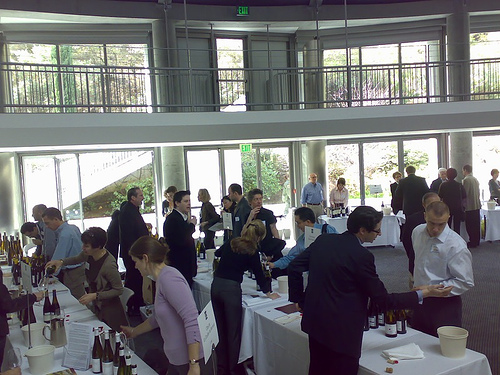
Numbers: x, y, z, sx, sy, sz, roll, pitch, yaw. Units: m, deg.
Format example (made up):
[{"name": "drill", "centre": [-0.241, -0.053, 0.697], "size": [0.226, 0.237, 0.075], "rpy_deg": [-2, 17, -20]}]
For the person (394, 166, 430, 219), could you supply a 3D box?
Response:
[{"name": "person", "centre": [3.317, 0.292, 8.170], "size": [0.674, 1.602, 0.507], "rpy_deg": [-3, 21, 19]}]

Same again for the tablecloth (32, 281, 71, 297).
[{"name": "tablecloth", "centre": [-2.199, 1.127, 4.434], "size": [0.261, 0.066, 0.268], "rpy_deg": [0, -2, -5]}]

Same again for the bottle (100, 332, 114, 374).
[{"name": "bottle", "centre": [-1.063, 1.237, 2.980], "size": [0.093, 0.333, 0.060], "rpy_deg": [-5, 6, -16]}]

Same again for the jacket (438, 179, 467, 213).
[{"name": "jacket", "centre": [3.805, 0.149, 7.505], "size": [0.616, 0.836, 0.309], "rpy_deg": [-1, 10, 19]}]

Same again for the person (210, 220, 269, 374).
[{"name": "person", "centre": [-0.094, 1.161, 4.118], "size": [0.598, 1.602, 0.334], "rpy_deg": [-5, 6, -8]}]

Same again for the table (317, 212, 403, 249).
[{"name": "table", "centre": [2.768, 0.943, 9.026], "size": [1.325, 0.601, 1.365], "rpy_deg": [-1, -1, -4]}]

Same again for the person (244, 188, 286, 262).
[{"name": "person", "centre": [0.197, 0.657, 5.271], "size": [0.485, 1.323, 0.386], "rpy_deg": [-1, 16, 7]}]

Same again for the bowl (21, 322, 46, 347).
[{"name": "bowl", "centre": [-1.845, 1.235, 3.390], "size": [0.173, 0.161, 0.222], "rpy_deg": [0, -6, 1]}]

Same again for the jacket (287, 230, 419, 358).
[{"name": "jacket", "centre": [0.766, 0.802, 3.067], "size": [0.778, 0.916, 0.349], "rpy_deg": [-2, 6, 22]}]

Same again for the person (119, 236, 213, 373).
[{"name": "person", "centre": [-0.616, 0.887, 2.992], "size": [0.281, 1.044, 0.731], "rpy_deg": [-9, 8, -44]}]

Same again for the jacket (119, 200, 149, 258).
[{"name": "jacket", "centre": [-1.660, 0.663, 5.892], "size": [0.372, 1.237, 0.461], "rpy_deg": [-5, 15, -13]}]

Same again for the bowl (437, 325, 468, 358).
[{"name": "bowl", "centre": [1.525, 1.141, 3.006], "size": [0.196, 0.165, 0.213], "rpy_deg": [-6, -5, -1]}]

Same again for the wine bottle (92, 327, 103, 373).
[{"name": "wine bottle", "centre": [-1.159, 1.251, 3.029], "size": [0.077, 0.300, 0.104], "rpy_deg": [-6, 6, -16]}]

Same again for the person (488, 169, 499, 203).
[{"name": "person", "centre": [5.778, -0.042, 9.482], "size": [0.190, 0.832, 0.374], "rpy_deg": [0, 7, 31]}]

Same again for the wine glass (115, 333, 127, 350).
[{"name": "wine glass", "centre": [-0.944, 1.128, 2.910], "size": [0.053, 0.142, 0.054], "rpy_deg": [11, 40, -12]}]
